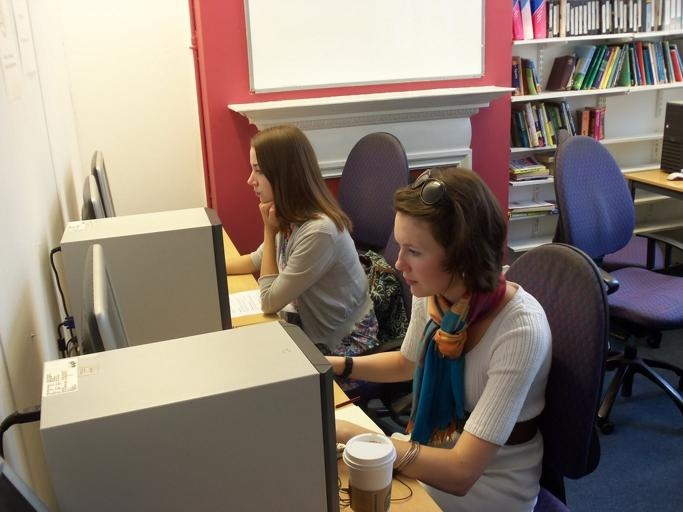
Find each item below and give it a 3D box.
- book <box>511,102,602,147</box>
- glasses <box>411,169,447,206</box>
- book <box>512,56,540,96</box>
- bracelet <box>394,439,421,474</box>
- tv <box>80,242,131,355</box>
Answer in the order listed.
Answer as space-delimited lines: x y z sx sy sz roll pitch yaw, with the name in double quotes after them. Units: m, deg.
1.645 -1.018 4.205 0.773 0.362 0.334 -15 16 -29 "book"
0.210 -0.158 1.311 0.026 0.083 0.077 -36 40 -8 "glasses"
1.341 -1.310 4.010 0.275 0.284 0.087 -13 15 -26 "book"
0.155 0.483 1.309 0.063 0.059 0.034 -5 13 7 "bracelet"
-0.519 0.083 1.200 0.050 0.145 0.241 -4 25 -14 "tv"
